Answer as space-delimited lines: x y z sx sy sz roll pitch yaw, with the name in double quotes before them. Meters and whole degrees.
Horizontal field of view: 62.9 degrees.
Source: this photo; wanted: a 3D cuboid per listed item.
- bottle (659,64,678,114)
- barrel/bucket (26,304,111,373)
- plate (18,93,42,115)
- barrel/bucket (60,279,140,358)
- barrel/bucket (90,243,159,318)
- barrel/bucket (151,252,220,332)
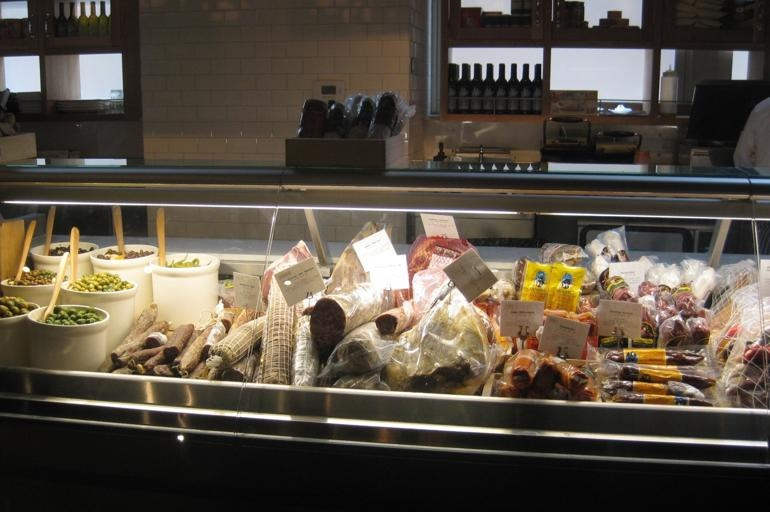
"bottle" 2.189 -1.293 4.896 0.131 0.370 0.152 3 9 15
"barrel/bucket" -1.060 0.267 2.138 0.218 0.159 0.216 5 9 -1
"plate" -3.039 -1.311 5.409 0.238 0.186 0.043 2 9 9
"barrel/bucket" -0.980 0.190 2.259 0.247 0.266 0.248 7 20 -3
"barrel/bucket" -0.934 0.055 2.349 0.250 0.366 0.236 1 15 0
"barrel/bucket" -0.714 0.130 2.253 0.242 0.228 0.225 1 10 0
